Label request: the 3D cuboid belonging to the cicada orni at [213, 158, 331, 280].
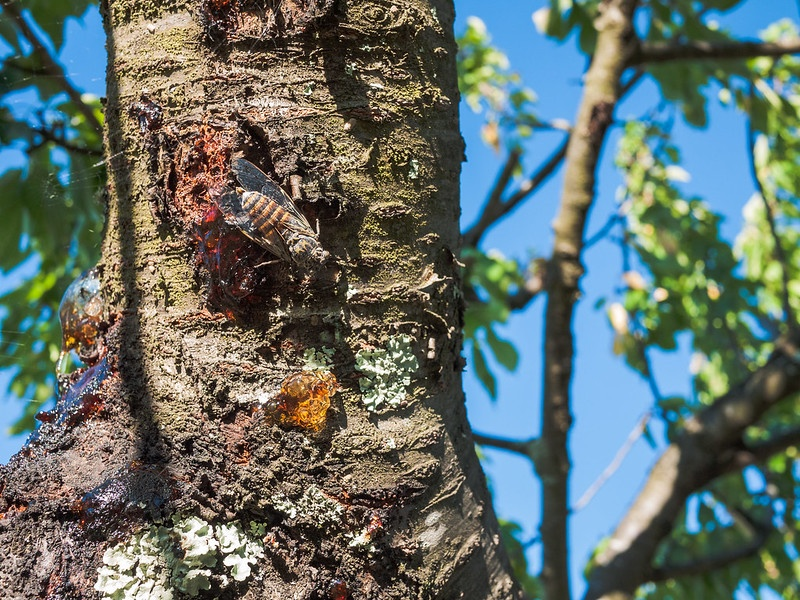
[{"bbox_3d":[-0.535,-0.334,6.646,0.531,0.379,0.158,45,5,-3],"label":"cicada orni"}]
